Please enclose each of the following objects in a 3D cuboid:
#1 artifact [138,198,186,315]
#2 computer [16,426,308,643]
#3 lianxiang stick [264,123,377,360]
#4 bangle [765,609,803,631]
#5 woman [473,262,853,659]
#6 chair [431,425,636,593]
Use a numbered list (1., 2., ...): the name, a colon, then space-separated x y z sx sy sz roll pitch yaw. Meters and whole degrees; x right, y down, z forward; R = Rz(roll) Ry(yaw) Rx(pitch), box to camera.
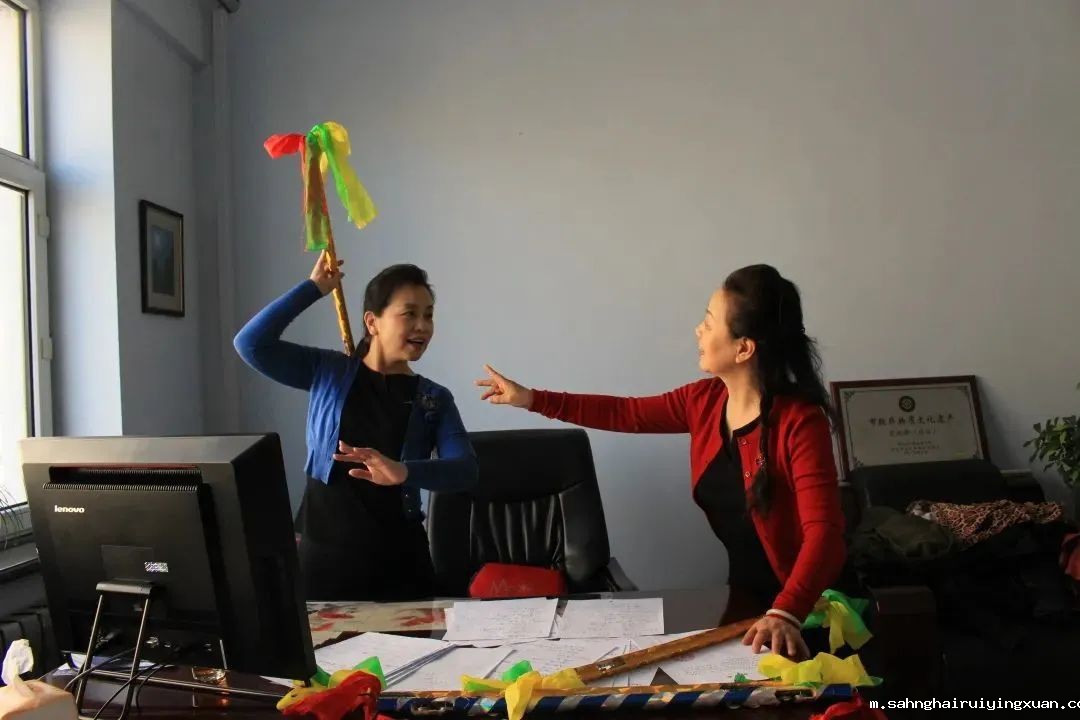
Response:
1. artifact: -1.732 -0.454 3.423 0.084 0.463 0.313 -4 -1 -1
2. computer: -1.001 0.513 1.907 0.823 0.668 0.156 -1 11 19
3. lianxiang stick: -0.826 -0.436 2.835 0.318 0.870 0.351 24 35 36
4. bangle: 0.664 0.696 2.017 0.064 0.018 0.066 23 5 -24
5. woman: 0.476 0.669 2.640 1.130 1.777 0.793 -1 18 21
6. chair: -0.035 0.609 3.213 0.610 0.790 0.642 -12 -3 -2
